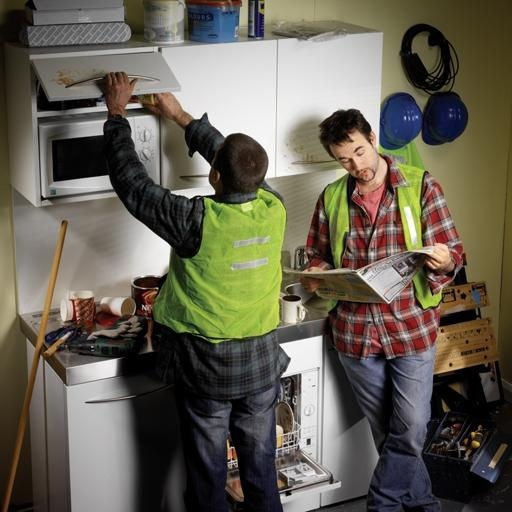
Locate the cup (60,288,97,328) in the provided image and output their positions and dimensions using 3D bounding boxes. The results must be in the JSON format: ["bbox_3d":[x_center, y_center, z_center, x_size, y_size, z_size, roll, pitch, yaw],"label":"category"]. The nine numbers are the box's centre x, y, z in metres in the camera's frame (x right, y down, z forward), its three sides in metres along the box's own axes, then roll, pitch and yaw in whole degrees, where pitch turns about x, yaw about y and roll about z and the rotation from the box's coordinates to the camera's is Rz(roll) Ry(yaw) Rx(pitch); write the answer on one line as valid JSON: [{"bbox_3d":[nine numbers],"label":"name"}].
[{"bbox_3d":[-0.690,0.202,1.767,0.143,0.115,0.101,4,4,36],"label":"cup"}]

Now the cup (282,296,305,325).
[{"bbox_3d":[0.154,0.228,1.930,0.069,0.092,0.114,-5,15,-19],"label":"cup"}]

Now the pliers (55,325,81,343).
[{"bbox_3d":[-0.680,0.286,1.660,0.037,0.017,0.060,15,17,18],"label":"pliers"}]

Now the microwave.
[{"bbox_3d":[-0.561,-0.334,1.578,0.411,0.290,0.267,-10,21,-28],"label":"microwave"}]

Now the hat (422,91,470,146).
[{"bbox_3d":[1.092,-0.791,2.586,0.218,0.326,0.123,-6,24,-6],"label":"hat"}]

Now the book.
[{"bbox_3d":[0.323,0.043,1.470,0.366,0.158,0.249,-12,7,-31],"label":"book"}]

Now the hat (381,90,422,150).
[{"bbox_3d":[0.772,-0.750,2.494,0.218,0.300,0.133,-4,23,-25],"label":"hat"}]

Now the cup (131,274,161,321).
[{"bbox_3d":[-0.441,0.149,1.903,0.140,0.152,0.198,3,18,1],"label":"cup"}]

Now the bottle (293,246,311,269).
[{"bbox_3d":[0.227,0.007,2.271,0.088,0.143,0.087,0,18,0],"label":"bottle"}]
